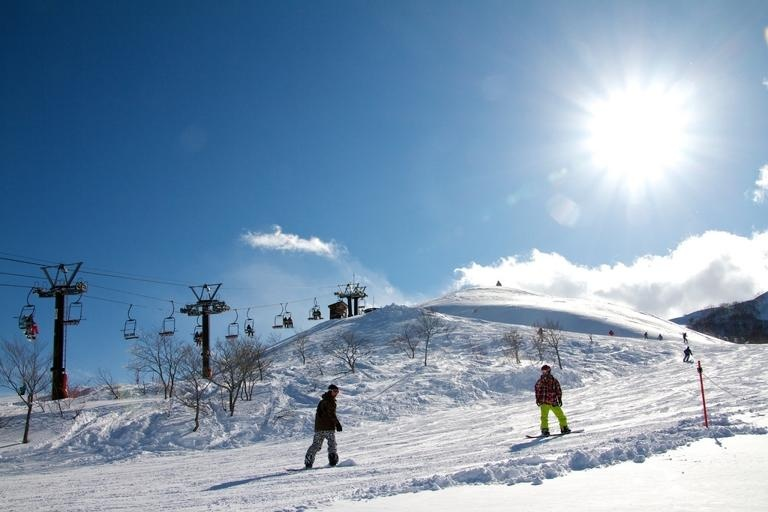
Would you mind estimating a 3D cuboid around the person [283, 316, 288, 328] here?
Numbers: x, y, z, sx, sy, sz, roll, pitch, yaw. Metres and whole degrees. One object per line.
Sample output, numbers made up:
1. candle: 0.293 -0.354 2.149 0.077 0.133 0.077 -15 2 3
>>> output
1. person: -9.300 6.333 60.988 0.632 0.761 1.154 -2 1 -4
